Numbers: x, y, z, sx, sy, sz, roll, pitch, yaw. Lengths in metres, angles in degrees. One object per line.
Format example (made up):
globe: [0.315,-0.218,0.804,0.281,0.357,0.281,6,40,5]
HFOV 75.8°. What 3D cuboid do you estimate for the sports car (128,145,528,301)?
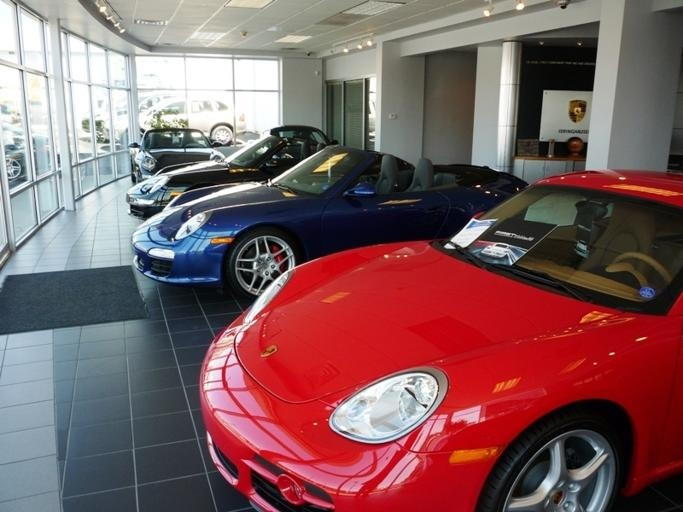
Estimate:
sports car: [-0.242,-0.419,4.867,4.567,0.893,1.736,-3,7,-11]
